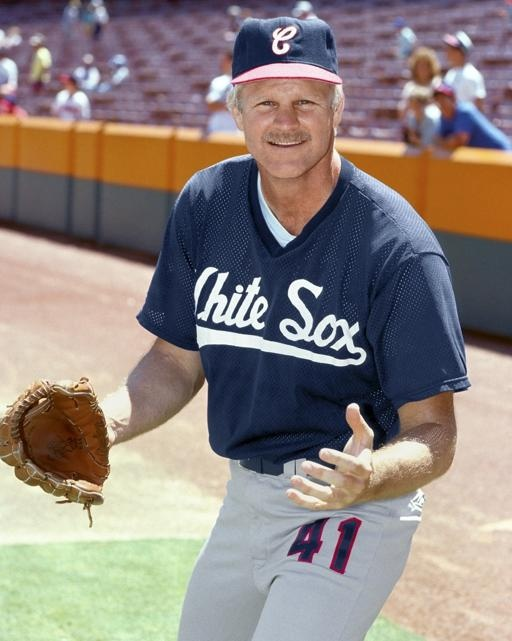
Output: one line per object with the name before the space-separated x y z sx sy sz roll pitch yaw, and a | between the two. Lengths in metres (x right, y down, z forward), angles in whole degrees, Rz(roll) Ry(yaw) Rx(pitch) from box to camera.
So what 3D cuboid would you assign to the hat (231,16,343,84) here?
hat | 0.063 -0.569 1.671 0.231 0.100 0.201 1 11 1
